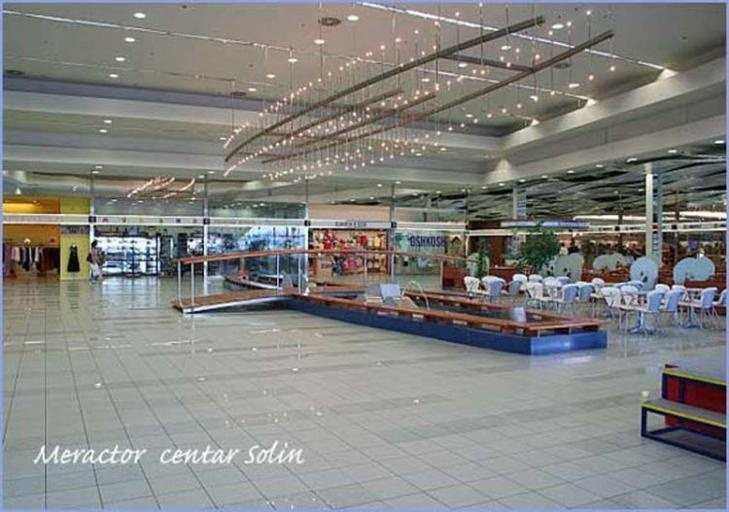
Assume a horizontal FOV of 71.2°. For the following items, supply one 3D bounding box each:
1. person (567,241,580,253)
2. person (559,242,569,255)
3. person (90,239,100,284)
[{"bbox_3d":[9.700,-0.473,23.660,0.471,0.509,0.758,2,4,20],"label":"person"},{"bbox_3d":[9.359,-0.390,23.965,0.337,0.561,1.519,2,4,21],"label":"person"},{"bbox_3d":[-12.303,0.170,23.205,0.486,1.794,1.388,-2,5,-28],"label":"person"}]
